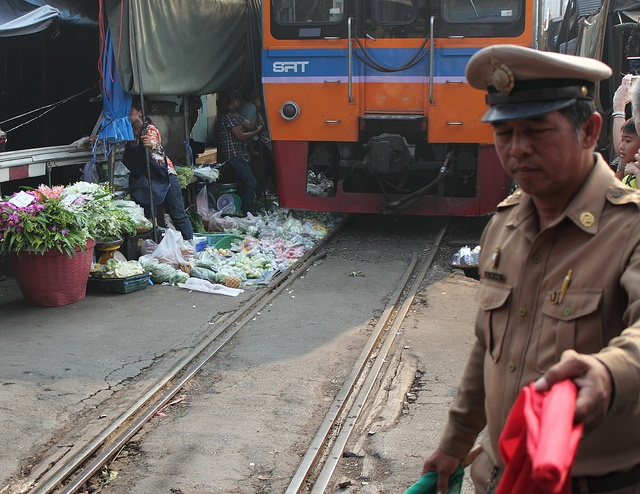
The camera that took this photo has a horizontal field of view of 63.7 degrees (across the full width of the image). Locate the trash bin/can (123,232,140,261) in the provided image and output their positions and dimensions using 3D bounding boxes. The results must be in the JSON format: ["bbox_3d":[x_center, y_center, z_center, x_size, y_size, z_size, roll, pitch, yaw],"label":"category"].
[{"bbox_3d":[-2.708,0.014,7.443,0.272,0.422,0.275,2,13,-7],"label":"trash bin/can"}]

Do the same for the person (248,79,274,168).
[{"bbox_3d":[-1.234,-2.614,10.658,0.443,1.878,1.005,-3,5,4],"label":"person"}]

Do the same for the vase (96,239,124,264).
[{"bbox_3d":[-2.882,0.025,7.079,0.315,0.352,0.435,-6,16,-24],"label":"vase"}]

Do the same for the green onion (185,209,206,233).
[{"bbox_3d":[-2.221,-0.450,9.220,0.148,0.160,0.435,-30,6,5],"label":"green onion"}]

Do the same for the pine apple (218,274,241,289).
[{"bbox_3d":[-1.172,0.446,6.894,0.191,0.155,0.181,4,5,11],"label":"pine apple"}]

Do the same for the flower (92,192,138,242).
[{"bbox_3d":[-2.729,-0.387,6.803,0.516,0.344,0.538,7,6,-34],"label":"flower"}]

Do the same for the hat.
[{"bbox_3d":[0.649,-0.493,1.550,0.425,0.181,0.380,-14,16,-34],"label":"hat"}]

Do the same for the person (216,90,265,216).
[{"bbox_3d":[-1.622,-1.970,10.625,0.812,2.457,1.584,-3,15,-10],"label":"person"}]

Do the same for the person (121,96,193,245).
[{"bbox_3d":[-2.601,-1.215,8.193,0.939,2.227,0.662,-5,15,-21],"label":"person"}]

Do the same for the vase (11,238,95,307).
[{"bbox_3d":[-3.254,0.182,6.326,0.930,0.698,0.933,0,14,-41],"label":"vase"}]
